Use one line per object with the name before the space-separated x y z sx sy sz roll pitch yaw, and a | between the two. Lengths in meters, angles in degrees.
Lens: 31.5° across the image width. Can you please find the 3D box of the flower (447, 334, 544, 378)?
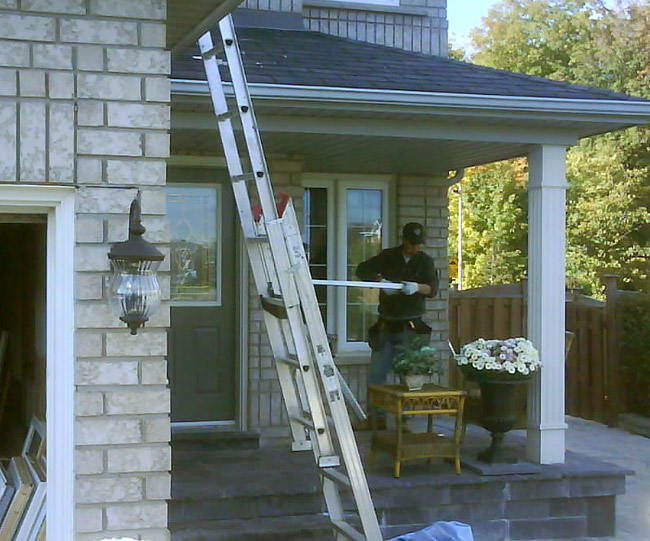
flower | 1.420 0.716 9.382 0.608 0.259 0.615 -17 4 -22

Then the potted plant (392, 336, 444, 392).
potted plant | 0.718 0.757 9.231 0.366 0.388 0.341 -1 -2 -42

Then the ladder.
ladder | -0.276 0.116 8.336 1.171 3.557 1.799 -1 0 -4

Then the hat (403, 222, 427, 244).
hat | 0.779 -0.324 10.181 0.184 0.192 0.238 -1 0 2

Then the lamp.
lamp | -1.029 -0.042 6.237 0.293 0.783 0.310 -1 0 -12

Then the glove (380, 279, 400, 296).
glove | 0.548 0.155 9.960 0.115 0.057 0.160 4 -9 38

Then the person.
person | 0.612 0.518 10.359 0.850 1.849 0.823 4 4 23

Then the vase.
vase | 1.404 1.197 9.389 0.551 0.711 0.573 0 -4 -32
